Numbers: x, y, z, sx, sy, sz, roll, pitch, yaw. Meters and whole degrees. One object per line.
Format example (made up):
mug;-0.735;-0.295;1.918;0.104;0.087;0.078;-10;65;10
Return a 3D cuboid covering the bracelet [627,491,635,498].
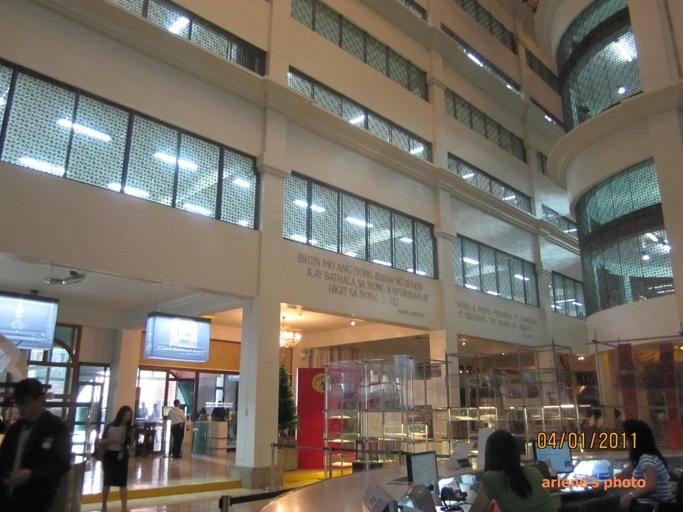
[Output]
bracelet;3.278;2.700;5.717;0.064;0.020;0.068;2;-12;3

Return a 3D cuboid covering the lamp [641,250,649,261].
lamp;8.720;-0.008;14.518;0.061;0.275;0.253;13;-5;-41

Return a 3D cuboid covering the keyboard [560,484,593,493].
keyboard;2.926;2.902;6.298;0.173;0.046;0.188;2;-8;-23

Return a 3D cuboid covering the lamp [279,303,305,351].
lamp;-1.741;2.319;15.699;0.813;0.946;0.875;-1;7;21

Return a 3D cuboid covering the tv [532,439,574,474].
tv;2.946;2.809;7.064;0.652;0.420;0.050;5;-13;-18

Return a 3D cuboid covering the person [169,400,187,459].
person;-4.974;5.224;15.305;0.462;1.681;0.988;4;-18;-18

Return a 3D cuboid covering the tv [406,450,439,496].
tv;0.870;2.295;5.344;0.413;0.413;0.045;9;-15;-39

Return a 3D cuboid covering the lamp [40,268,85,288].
lamp;-6.506;0.492;11.824;0.424;0.492;1.562;8;-8;-44
